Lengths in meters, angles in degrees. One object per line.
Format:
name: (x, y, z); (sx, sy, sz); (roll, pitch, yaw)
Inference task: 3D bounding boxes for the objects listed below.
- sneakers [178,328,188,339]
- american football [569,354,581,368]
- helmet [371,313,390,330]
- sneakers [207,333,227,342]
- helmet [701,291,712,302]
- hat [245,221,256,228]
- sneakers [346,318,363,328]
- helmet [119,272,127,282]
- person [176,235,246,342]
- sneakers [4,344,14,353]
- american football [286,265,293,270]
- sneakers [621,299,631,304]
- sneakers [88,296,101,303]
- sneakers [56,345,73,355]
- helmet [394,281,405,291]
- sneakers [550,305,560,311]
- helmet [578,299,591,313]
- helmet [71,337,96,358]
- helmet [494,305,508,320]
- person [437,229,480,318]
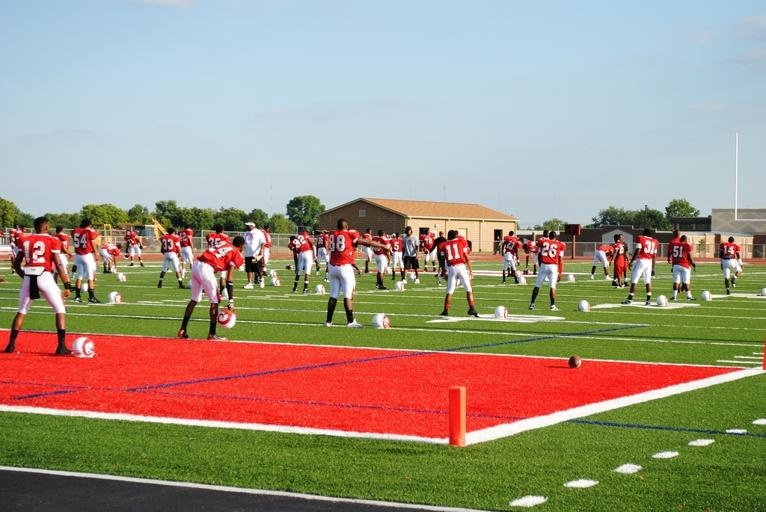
sneakers: (-3.916, 1.514, 17.586); (0.241, 0.219, 0.141); (1, 8, 0)
american football: (3.072, 1.685, 14.397); (0.159, 0.158, 0.197); (-6, 0, -2)
helmet: (-0.052, 1.429, 19.458); (0.276, 0.321, 0.307); (-9, -38, -3)
sneakers: (-3.197, 1.583, 17.412); (0.387, 0.146, 0.128); (1, 1, 8)
helmet: (10.073, 1.256, 27.950); (0.299, 0.313, 0.393); (-1, -2, 4)
hat: (-4.314, -1.026, 29.105); (0.294, 0.093, 0.207); (16, 7, 23)
sneakers: (-0.592, 1.457, 19.394); (0.379, 0.167, 0.147); (-4, 14, -41)
helmet: (-10.031, 0.880, 34.555); (0.365, 0.346, 0.415); (6, 8, -12)
person: (-3.409, 0.614, 17.885); (1.308, 2.021, 1.000); (3, 2, -34)
sneakers: (-6.474, 1.602, 15.572); (0.091, 0.119, 0.213); (-4, 21, 4)
american football: (-4.760, 0.581, 45.828); (0.391, 0.183, 0.531); (0, -3, -3)
sneakers: (7.061, 1.328, 26.071); (0.202, 0.153, 0.328); (3, 6, 36)
sneakers: (-8.063, 1.217, 25.037); (0.304, 0.121, 0.095); (9, 34, -22)
sneakers: (-5.424, 1.597, 15.296); (0.300, 0.230, 0.135); (0, 47, -19)
helmet: (0.579, 1.064, 31.756); (0.256, 0.320, 0.272); (-4, 2, -36)
sneakers: (4.589, 1.390, 24.156); (0.110, 0.147, 0.339); (2, 3, 31)
helmet: (5.396, 1.384, 23.993); (0.321, 0.309, 0.247); (-10, 25, -10)
helmet: (-5.039, 1.542, 15.206); (0.289, 0.300, 0.391); (5, 10, 14)
helmet: (2.833, 1.378, 21.762); (0.252, 0.304, 0.313); (-2, 7, 6)
person: (1.787, 0.424, 22.002); (0.984, 2.145, 0.724); (-6, -3, 15)
